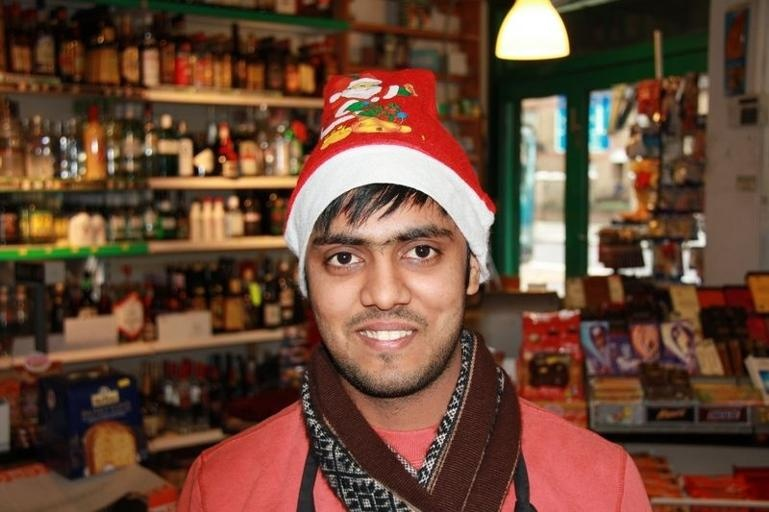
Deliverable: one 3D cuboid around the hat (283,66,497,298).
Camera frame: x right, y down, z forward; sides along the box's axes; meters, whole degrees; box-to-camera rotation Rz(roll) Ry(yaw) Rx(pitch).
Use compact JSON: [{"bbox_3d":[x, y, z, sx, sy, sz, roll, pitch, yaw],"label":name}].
[{"bbox_3d":[-0.002,-0.191,1.982,0.589,0.613,0.567,-3,2,7],"label":"hat"}]
